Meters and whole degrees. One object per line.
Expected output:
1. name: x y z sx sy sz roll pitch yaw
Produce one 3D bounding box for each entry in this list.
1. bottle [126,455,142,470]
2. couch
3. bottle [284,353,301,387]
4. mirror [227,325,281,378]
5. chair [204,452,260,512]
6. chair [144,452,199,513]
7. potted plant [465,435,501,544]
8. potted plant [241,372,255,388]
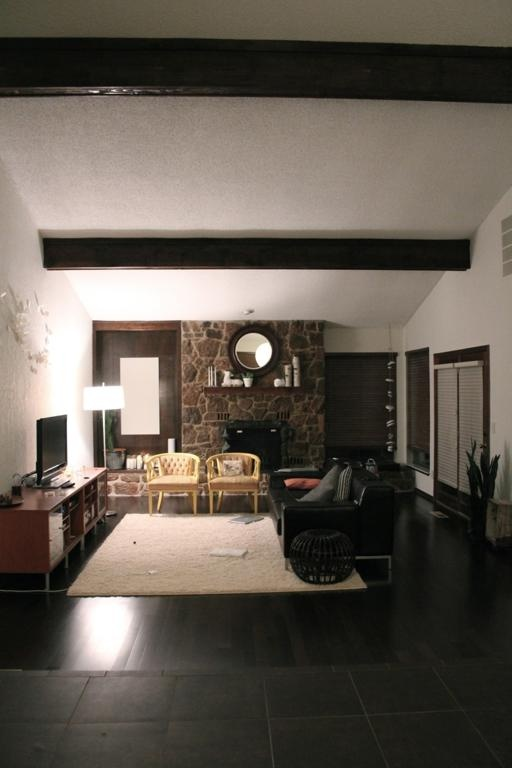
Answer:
1. bottle: -1.766 1.116 7.877 0.175 0.208 0.195 0 0 2
2. couch: 0.625 1.144 5.165 1.006 0.763 2.258 -1 -1 1
3. bottle: 0.516 -0.187 7.890 0.232 0.477 0.220 0 -1 0
4. mirror: -0.055 -0.519 7.931 0.580 0.665 0.055 9 0 -10
5. chair: -0.275 1.265 6.899 0.639 0.837 0.687 -3 -9 19
6. chair: -1.091 1.239 6.915 0.621 0.826 0.698 0 -9 -4
7. potted plant: 2.224 1.033 5.321 0.282 0.894 0.777 -1 -1 24
8. potted plant: -0.140 -0.058 7.839 0.173 0.254 0.183 -1 -11 3
